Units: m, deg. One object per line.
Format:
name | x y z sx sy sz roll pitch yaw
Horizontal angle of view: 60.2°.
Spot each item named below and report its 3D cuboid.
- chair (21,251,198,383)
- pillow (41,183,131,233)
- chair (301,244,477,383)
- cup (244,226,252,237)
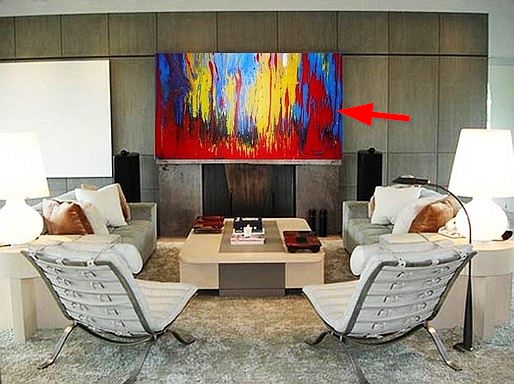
chair | -1.088 0.816 3.591 1.079 0.921 1.123 2 5 19
pillow | -1.950 0.247 5.039 0.652 0.504 1.121 -2 9 2
chair | 0.986 0.750 3.741 0.977 1.099 1.225 -3 6 -14
cup | -0.108 0.448 4.980 0.079 0.111 0.106 8 12 42
